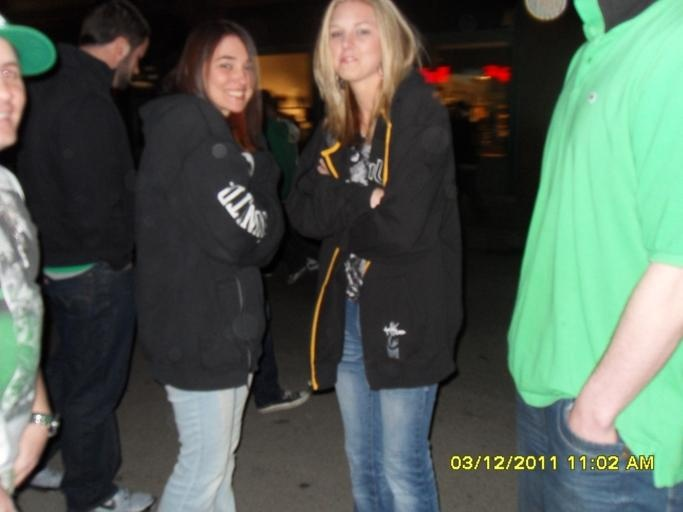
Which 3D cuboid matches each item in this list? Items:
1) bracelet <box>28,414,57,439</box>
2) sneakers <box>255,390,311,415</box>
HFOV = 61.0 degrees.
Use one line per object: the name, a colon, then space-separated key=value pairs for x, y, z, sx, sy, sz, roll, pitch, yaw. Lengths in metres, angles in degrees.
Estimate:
bracelet: x=-0.935 y=0.538 z=1.839 sx=0.084 sy=0.049 sz=0.063 roll=10 pitch=5 yaw=12
sneakers: x=-0.433 y=1.077 z=4.420 sx=0.410 sy=0.163 sz=0.148 roll=-11 pitch=19 yaw=-19
